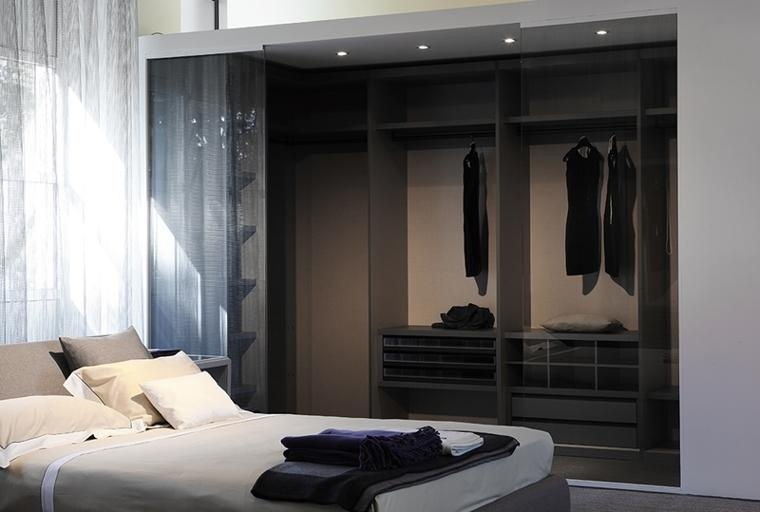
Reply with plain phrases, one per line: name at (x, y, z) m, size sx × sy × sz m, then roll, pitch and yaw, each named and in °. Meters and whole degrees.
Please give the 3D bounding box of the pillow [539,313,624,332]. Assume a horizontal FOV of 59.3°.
pillow at (1.484, 0.495, 4.889) m, size 0.567 × 0.138 × 0.026 m, roll -1°, pitch 6°, yaw 12°

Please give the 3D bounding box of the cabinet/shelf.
cabinet/shelf at (0.823, -0.124, 5.494) m, size 3.151 × 3.013 × 0.976 m, roll 0°, pitch -4°, yaw 11°

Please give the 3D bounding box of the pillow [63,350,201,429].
pillow at (-1.625, 0.808, 4.284) m, size 0.403 × 0.194 × 0.578 m, roll 23°, pitch 10°, yaw 25°
